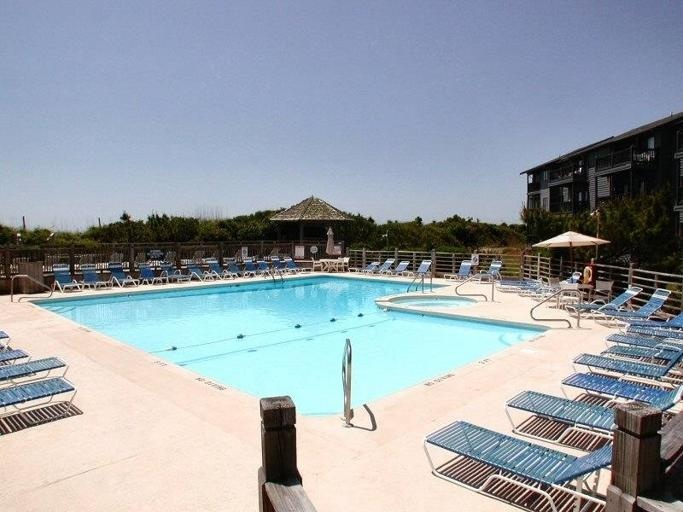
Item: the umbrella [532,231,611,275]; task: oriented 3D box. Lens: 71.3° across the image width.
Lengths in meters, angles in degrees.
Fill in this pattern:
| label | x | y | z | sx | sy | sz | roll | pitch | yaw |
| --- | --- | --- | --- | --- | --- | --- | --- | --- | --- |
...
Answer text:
| label | x | y | z | sx | sy | sz | roll | pitch | yaw |
| --- | --- | --- | --- | --- | --- | --- | --- | --- | --- |
| umbrella | 6.911 | -0.439 | 14.124 | 1.442 | 0.674 | 1.596 | -7 | 9 | -1 |
